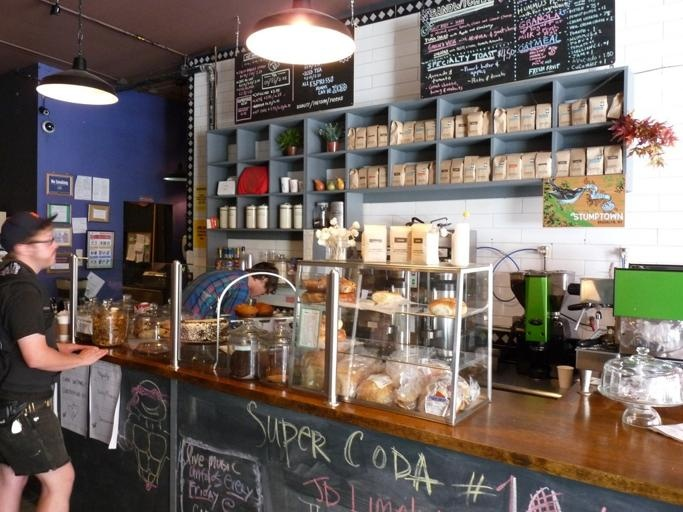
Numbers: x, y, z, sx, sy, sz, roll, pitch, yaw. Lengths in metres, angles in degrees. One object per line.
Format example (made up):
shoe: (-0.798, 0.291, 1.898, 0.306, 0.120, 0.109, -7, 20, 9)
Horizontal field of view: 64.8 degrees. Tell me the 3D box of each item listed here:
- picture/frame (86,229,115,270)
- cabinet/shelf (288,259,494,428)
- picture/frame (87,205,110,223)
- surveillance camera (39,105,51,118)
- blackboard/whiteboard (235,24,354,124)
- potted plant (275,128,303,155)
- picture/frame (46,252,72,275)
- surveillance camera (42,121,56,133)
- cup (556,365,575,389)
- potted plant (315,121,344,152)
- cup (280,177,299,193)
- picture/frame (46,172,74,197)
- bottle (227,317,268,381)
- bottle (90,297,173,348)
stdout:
picture/frame: (-3.088, -0.095, 6.956, 0.445, 0.478, 0.028, 1, 0, 21)
cabinet/shelf: (0.207, 0.373, 2.612, 0.964, 0.627, 0.356, 2, 4, 38)
picture/frame: (-3.108, -0.554, 6.889, 0.028, 0.182, 0.272, -3, -4, 33)
surveillance camera: (-3.448, -1.709, 6.259, 0.080, 0.103, 0.036, -16, 20, -33)
blackboard/whiteboard: (-0.323, -1.374, 4.161, 1.433, 0.739, 0.026, 3, 0, 32)
potted plant: (-0.476, -1.079, 5.023, 0.291, 0.263, 0.279, 1, 3, -20)
picture/frame: (-2.809, 0.072, 5.378, 0.028, 0.257, 0.283, 1, -2, 42)
surveillance camera: (-3.418, -1.533, 6.311, 0.100, 0.150, 0.194, 1, 2, -4)
cup: (1.290, 0.698, 3.113, 0.134, 0.118, 0.126, 2, -7, 0)
potted plant: (-0.054, -1.079, 4.913, 0.324, 0.284, 0.261, -1, -4, 4)
cup: (-0.496, -0.668, 4.997, 0.127, 0.118, 0.186, -4, -6, 34)
picture/frame: (-3.372, -0.869, 6.439, 0.039, 0.282, 0.356, -3, -3, 31)
bottle: (-0.516, 0.509, 2.967, 0.243, 0.300, 0.223, 0, -1, 0)
bottle: (-1.345, 0.422, 3.445, 0.395, 0.158, 0.373, 3, -2, 0)
